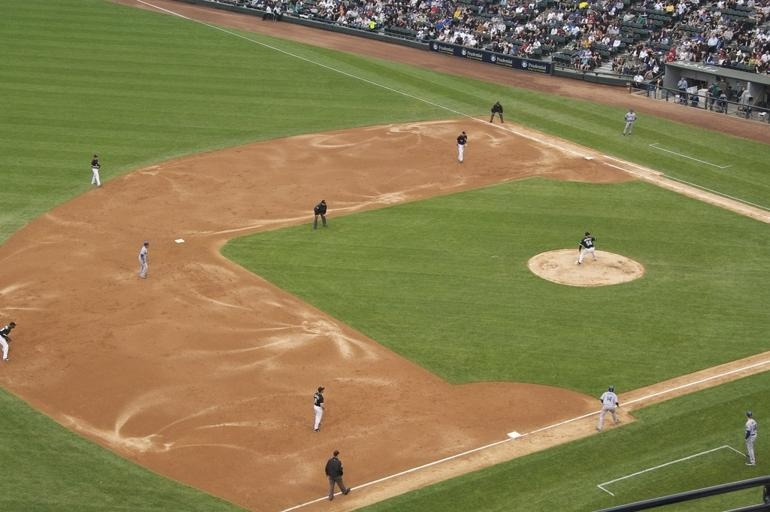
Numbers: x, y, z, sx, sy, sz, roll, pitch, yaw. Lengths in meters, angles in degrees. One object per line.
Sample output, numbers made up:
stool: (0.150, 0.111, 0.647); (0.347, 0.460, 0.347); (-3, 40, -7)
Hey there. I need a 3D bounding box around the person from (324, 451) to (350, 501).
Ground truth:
person: (-2.699, 12.429, 85.895); (1.406, 3.019, 1.528); (3, 19, -10)
